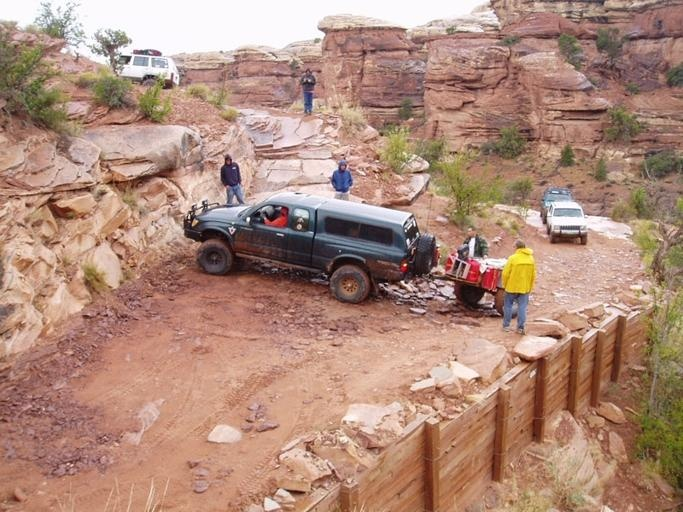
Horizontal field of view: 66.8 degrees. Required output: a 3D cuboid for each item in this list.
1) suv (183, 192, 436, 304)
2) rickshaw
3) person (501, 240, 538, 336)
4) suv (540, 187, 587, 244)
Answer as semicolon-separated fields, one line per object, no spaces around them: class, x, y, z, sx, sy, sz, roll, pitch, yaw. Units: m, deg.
suv;-0.426;-0.286;13.497;6.760;2.246;2.549;13;23;10
rickshaw;3.383;0.764;12.876;2.328;1.322;1.691;2;9;-37
person;3.970;0.721;11.631;0.736;1.827;1.050;1;2;16
suv;11.227;-2.283;26.335;1.905;1.790;8.855;6;14;19
